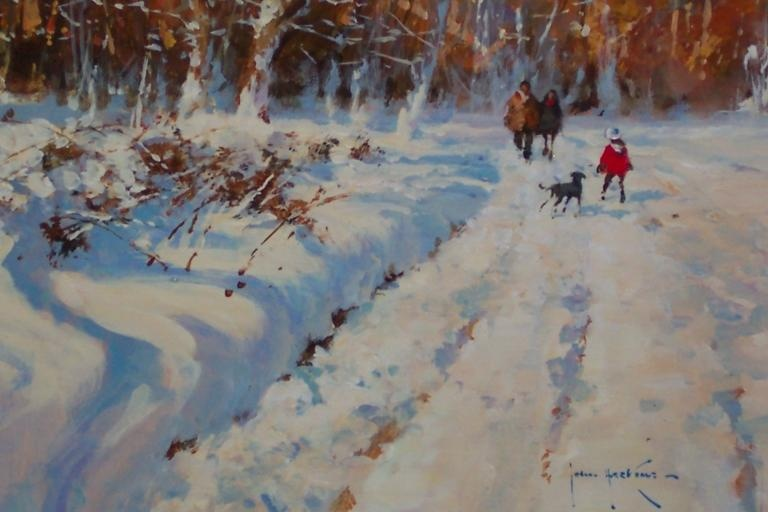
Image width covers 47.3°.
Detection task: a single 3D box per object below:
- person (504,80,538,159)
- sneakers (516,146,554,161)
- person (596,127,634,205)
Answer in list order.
[{"bbox_3d":[1.531,-1.528,9.844,0.410,0.812,0.323,13,17,40],"label":"person"},{"bbox_3d":[1.679,-1.157,9.747,0.393,0.166,0.157,2,14,-2],"label":"sneakers"},{"bbox_3d":[2.470,-0.978,9.368,0.317,0.819,0.267,4,37,19],"label":"person"}]
